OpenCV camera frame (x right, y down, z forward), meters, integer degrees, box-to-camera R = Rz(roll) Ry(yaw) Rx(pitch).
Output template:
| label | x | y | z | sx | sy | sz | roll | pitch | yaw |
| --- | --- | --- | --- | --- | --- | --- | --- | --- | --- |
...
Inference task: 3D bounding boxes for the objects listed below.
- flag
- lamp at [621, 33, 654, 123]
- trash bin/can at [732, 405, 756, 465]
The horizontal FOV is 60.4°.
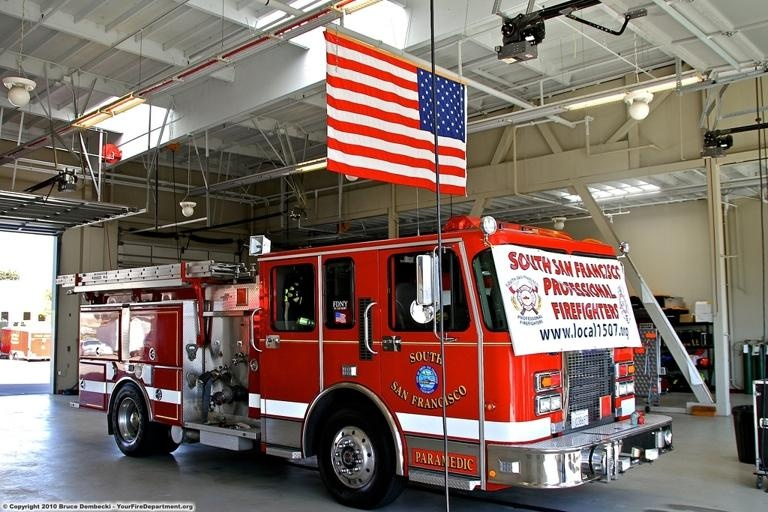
| label | x | y | z | sx | sy | sz | roll | pitch | yaw |
| --- | --- | --- | --- | --- | --- | --- | --- | --- | --- |
| flag | 0.220 | -2.263 | 10.504 | 2.753 | 2.313 | 0.548 | 1 | -3 | -41 |
| lamp | 5.995 | -4.270 | 15.492 | 0.754 | 2.309 | 0.733 | -6 | 7 | 33 |
| trash bin/can | 6.070 | 2.985 | 11.099 | 0.288 | 0.976 | 0.422 | -2 | -2 | 26 |
